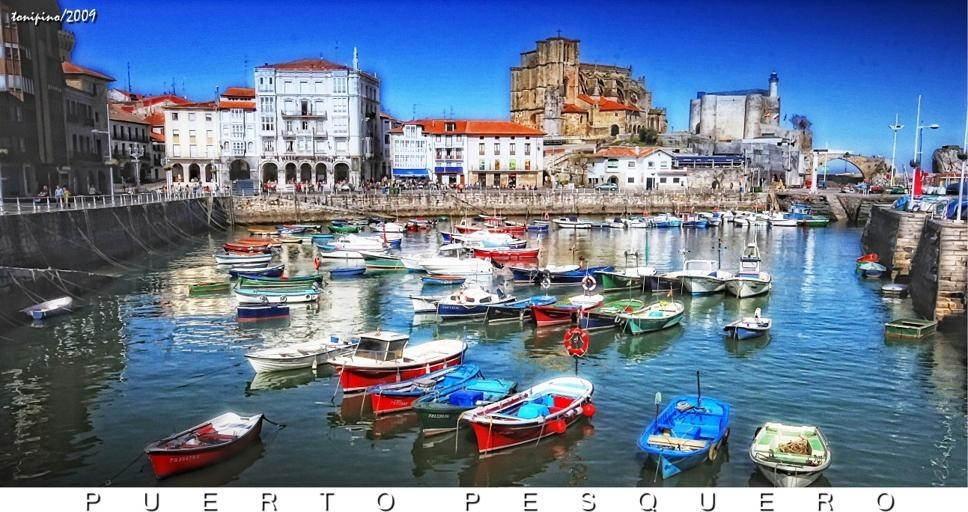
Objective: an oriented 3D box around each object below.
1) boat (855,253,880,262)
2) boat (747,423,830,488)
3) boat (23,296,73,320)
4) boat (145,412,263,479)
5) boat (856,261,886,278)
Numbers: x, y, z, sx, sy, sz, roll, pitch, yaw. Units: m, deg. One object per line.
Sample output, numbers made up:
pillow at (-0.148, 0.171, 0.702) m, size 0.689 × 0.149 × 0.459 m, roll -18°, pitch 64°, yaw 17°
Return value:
boat at (34.275, 0.287, 71.505) m, size 2.103 × 0.636 × 1.261 m, roll -3°, pitch 2°, yaw -16°
boat at (16.547, 10.563, 44.051) m, size 4.051 × 2.903 × 6.187 m, roll 1°, pitch 0°, yaw 9°
boat at (-30.704, 3.696, 56.735) m, size 1.229 × 0.981 × 2.741 m, roll 5°, pitch 12°, yaw 23°
boat at (-15.106, 10.625, 44.072) m, size 3.052 × 1.483 × 5.104 m, roll 15°, pitch 23°, yaw 37°
boat at (32.888, 1.101, 68.657) m, size 2.097 × 1.096 × 2.064 m, roll 10°, pitch 14°, yaw 40°
